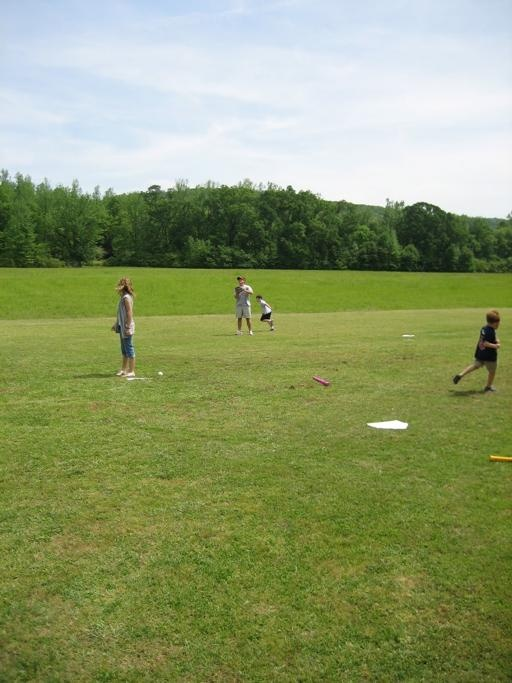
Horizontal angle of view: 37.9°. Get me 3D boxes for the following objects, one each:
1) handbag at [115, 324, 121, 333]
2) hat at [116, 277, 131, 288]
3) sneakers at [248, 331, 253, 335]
[{"bbox_3d":[-2.302,-0.210,12.410,0.139,0.114,0.149,-2,3,-10],"label":"handbag"},{"bbox_3d":[-2.178,-0.978,12.272,0.199,0.214,0.164,-1,4,12],"label":"hat"},{"bbox_3d":[-0.153,-0.246,20.729,0.094,0.151,0.095,6,-8,-41],"label":"sneakers"}]
